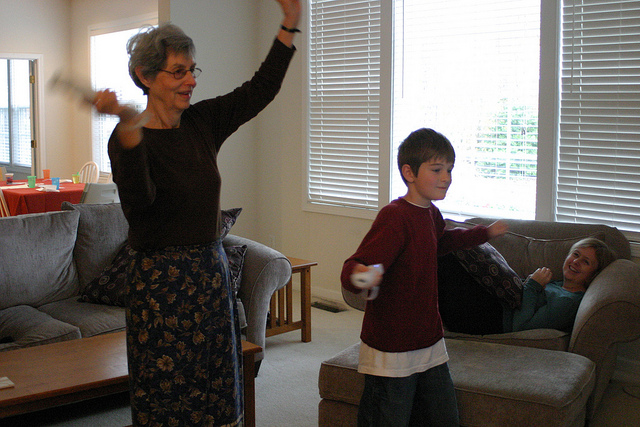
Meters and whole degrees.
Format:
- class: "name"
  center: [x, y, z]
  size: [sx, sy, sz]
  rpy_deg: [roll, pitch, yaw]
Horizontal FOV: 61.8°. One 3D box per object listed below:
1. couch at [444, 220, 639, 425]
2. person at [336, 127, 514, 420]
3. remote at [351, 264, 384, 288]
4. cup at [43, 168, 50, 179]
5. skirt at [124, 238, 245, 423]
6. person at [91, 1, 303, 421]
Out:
- class: "couch"
  center: [1.300, 0.623, 3.131]
  size: [1.299, 0.807, 1.253]
  rpy_deg: [0, 1, 28]
- class: "person"
  center: [0.431, 0.307, 2.479]
  size: [0.823, 1.381, 0.353]
  rpy_deg: [-9, 13, -40]
- class: "remote"
  center: [0.204, 0.260, 2.191]
  size: [0.136, 0.081, 0.072]
  rpy_deg: [-4, 10, -20]
- class: "cup"
  center: [-3.392, -0.494, 6.658]
  size: [0.057, 0.122, 0.145]
  rpy_deg: [-4, 11, -22]
- class: "skirt"
  center: [-0.546, 0.498, 2.157]
  size: [0.428, 0.772, 0.155]
  rpy_deg: [-4, 10, -21]
- class: "person"
  center: [-0.465, 0.056, 2.206]
  size: [0.666, 1.607, 0.325]
  rpy_deg: [-4, 10, -20]
